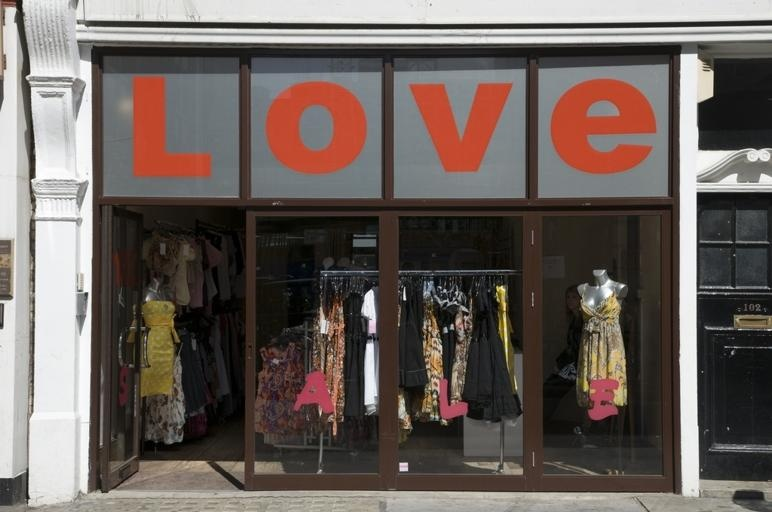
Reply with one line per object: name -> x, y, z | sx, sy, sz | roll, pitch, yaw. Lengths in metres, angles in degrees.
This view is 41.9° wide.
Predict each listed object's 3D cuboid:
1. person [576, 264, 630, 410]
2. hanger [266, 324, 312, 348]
person -> 2.506, 0.956, 11.844 | 0.461, 1.646, 0.558 | -1, 3, -43
hanger -> -1.103, 0.923, 11.653 | 0.356, 0.137, 0.268 | -11, 10, -41
